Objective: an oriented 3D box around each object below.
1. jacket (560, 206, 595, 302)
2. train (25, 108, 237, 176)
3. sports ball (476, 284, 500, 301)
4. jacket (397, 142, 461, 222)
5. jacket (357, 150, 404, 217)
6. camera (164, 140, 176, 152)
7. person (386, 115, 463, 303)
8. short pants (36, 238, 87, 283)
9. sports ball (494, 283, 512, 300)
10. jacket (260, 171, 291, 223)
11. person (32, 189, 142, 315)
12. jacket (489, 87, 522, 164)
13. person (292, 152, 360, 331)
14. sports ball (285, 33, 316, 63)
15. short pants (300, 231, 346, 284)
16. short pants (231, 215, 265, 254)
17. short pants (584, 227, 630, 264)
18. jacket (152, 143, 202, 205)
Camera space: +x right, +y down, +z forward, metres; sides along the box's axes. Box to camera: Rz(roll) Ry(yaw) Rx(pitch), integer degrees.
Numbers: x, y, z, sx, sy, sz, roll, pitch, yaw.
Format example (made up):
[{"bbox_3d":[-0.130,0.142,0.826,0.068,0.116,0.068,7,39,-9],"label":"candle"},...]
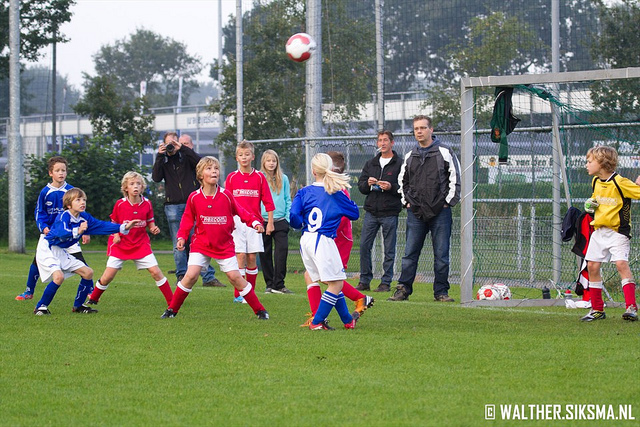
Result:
[{"bbox_3d":[3.970,0.648,15.931,0.473,1.486,0.990,0,0,13],"label":"jacket"},{"bbox_3d":[-9.832,-2.712,48.960,7.442,2.565,2.265,1,-15,12],"label":"train"},{"bbox_3d":[2.693,1.247,16.551,0.237,0.249,0.234,9,15,-2],"label":"sports ball"},{"bbox_3d":[1.801,-0.509,17.031,1.311,1.599,0.706,1,-1,31],"label":"jacket"},{"bbox_3d":[1.049,-0.514,17.885,0.758,1.141,0.390,0,0,4],"label":"jacket"},{"bbox_3d":[-2.624,-1.177,18.169,0.163,0.162,0.258,17,5,-14],"label":"camera"},{"bbox_3d":[1.754,-0.083,17.009,1.077,3.037,0.611,0,0,3],"label":"person"},{"bbox_3d":[-3.975,0.652,15.926,0.596,0.837,0.715,7,1,24],"label":"short pants"},{"bbox_3d":[2.958,1.256,16.637,0.220,0.260,0.214,-4,-14,-1],"label":"sports ball"},{"bbox_3d":[-0.694,-0.302,17.757,0.404,0.843,0.686,0,-1,33],"label":"jacket"},{"bbox_3d":[-3.731,0.569,15.876,1.284,1.891,0.554,0,0,-16],"label":"person"},{"bbox_3d":[2.948,-1.398,16.413,0.447,1.197,0.447,0,0,11],"label":"jacket"},{"bbox_3d":[0.064,0.405,14.900,0.919,2.522,0.394,0,0,1],"label":"person"},{"bbox_3d":[-0.427,-3.366,20.534,0.508,0.541,0.510,-14,1,0],"label":"sports ball"},{"bbox_3d":[0.072,0.608,14.920,0.426,0.716,0.544,-20,2,-35],"label":"short pants"},{"bbox_3d":[-1.188,0.353,17.153,0.505,0.617,0.353,0,0,-8],"label":"short pants"},{"bbox_3d":[4.327,0.420,15.498,0.652,0.677,0.370,-2,-16,29],"label":"short pants"},{"bbox_3d":[-2.566,-0.654,18.433,0.865,1.120,0.718,-4,-23,-15],"label":"jacket"}]
